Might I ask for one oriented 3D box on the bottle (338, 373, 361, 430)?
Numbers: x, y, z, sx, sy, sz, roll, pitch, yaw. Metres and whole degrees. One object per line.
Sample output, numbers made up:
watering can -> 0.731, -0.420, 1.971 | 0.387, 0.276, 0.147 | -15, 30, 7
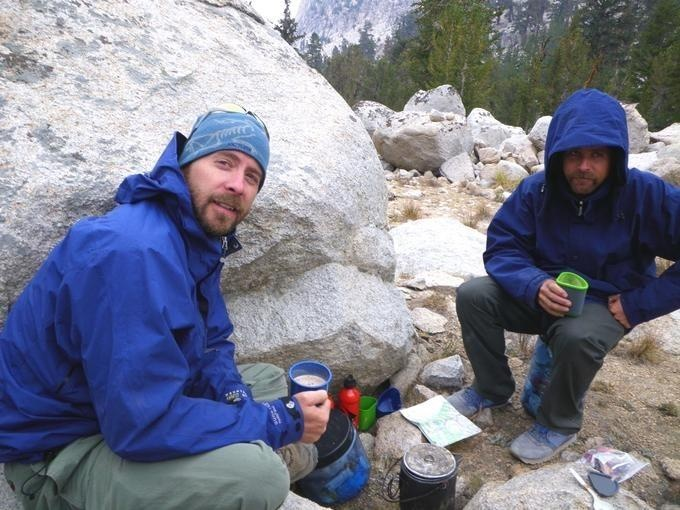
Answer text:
bottle -> 0.064, 0.959, 3.602 | 0.155, 0.423, 0.195 | 3, 23, -1

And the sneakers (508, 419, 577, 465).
sneakers -> 1.231, 1.167, 3.375 | 0.435, 0.205, 0.186 | -13, 44, -12

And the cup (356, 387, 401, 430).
cup -> 0.260, 1.025, 3.768 | 0.326, 0.236, 0.201 | -4, 44, -17

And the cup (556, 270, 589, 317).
cup -> 1.407, 0.241, 3.361 | 0.182, 0.226, 0.183 | 3, 23, -1

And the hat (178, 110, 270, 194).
hat -> -0.615, -0.610, 2.943 | 0.320, 0.362, 0.418 | 28, 17, -28

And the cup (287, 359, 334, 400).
cup -> -0.181, 0.729, 3.235 | 0.223, 0.160, 0.203 | 0, 27, -6
